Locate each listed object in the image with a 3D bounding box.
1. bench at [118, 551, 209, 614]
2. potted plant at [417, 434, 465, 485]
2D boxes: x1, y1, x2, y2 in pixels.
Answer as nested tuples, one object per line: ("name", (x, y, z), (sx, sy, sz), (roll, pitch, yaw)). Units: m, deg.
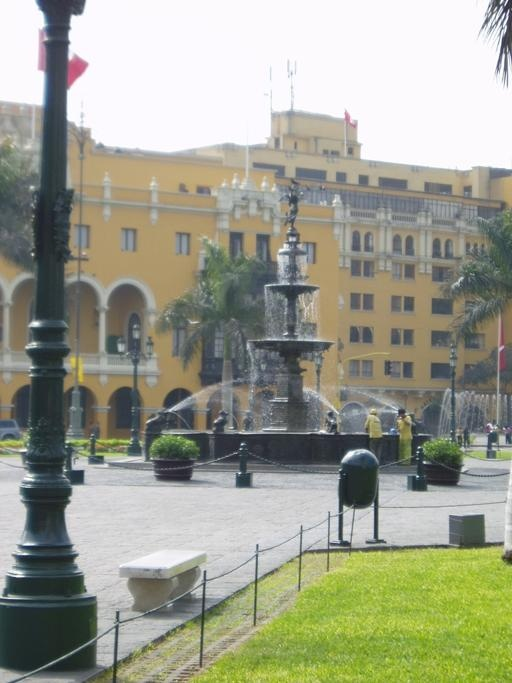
("bench", (-0.903, 2.226, 18.159), (0.581, 0.540, 1.114), (-1, -4, 11))
("potted plant", (3.017, 1.929, 31.887), (0.648, 0.788, 0.640), (0, -4, 4))
